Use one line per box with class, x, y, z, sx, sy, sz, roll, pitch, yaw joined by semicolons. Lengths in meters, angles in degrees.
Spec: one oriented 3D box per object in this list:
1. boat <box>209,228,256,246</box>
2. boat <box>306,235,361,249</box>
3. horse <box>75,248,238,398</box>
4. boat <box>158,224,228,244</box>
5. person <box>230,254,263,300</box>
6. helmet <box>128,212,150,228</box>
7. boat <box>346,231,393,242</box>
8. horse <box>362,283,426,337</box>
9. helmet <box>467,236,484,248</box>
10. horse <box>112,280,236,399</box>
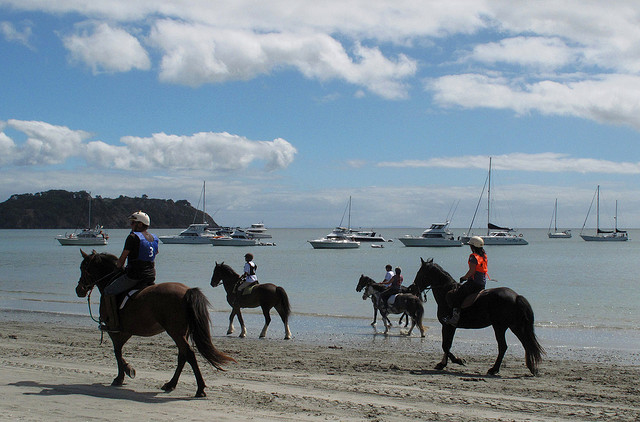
boat;-14.957;4.767;121.908;8.033;2.449;3.499;1;-1;-41
boat;2.364;5.126;116.756;9.730;2.046;4.242;1;0;-27
horse;-5.587;3.637;23.324;6.778;4.306;1.685;1;1;33
boat;-21.490;4.677;126.718;13.458;3.885;4.206;-1;1;0
person;-3.168;2.786;30.121;1.059;1.909;0.652;1;0;-2
helmet;-5.686;0.286;22.549;0.611;0.464;0.441;2;6;1
boat;10.975;5.002;145.801;10.513;2.189;2.680;2;-4;2
horse;3.381;4.318;31.436;3.315;2.213;0.857;3;4;41
helmet;5.469;1.063;24.913;0.470;0.231;0.354;24;16;29
horse;-4.862;3.987;22.805;3.381;3.469;2.710;1;0;-16
